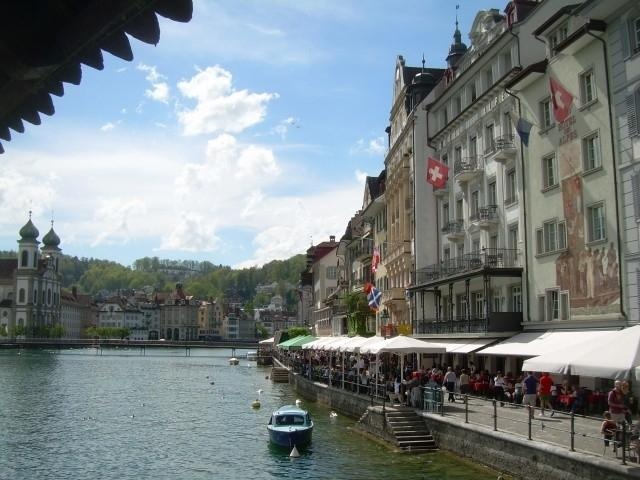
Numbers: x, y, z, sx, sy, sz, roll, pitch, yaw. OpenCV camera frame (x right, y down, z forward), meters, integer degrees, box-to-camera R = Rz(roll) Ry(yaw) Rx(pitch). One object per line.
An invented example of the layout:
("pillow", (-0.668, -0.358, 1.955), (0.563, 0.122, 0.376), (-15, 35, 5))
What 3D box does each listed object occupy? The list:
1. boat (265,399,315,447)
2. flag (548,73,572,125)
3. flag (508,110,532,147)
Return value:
("boat", (-1.621, 10.044, 44.587), (1.730, 1.927, 6.019), (-2, -8, -1))
("flag", (12.047, -7.188, 40.930), (1.000, 2.716, 2.227), (-3, -10, 18))
("flag", (11.030, -6.184, 45.180), (2.095, 2.481, 0.297), (5, -6, -41))
